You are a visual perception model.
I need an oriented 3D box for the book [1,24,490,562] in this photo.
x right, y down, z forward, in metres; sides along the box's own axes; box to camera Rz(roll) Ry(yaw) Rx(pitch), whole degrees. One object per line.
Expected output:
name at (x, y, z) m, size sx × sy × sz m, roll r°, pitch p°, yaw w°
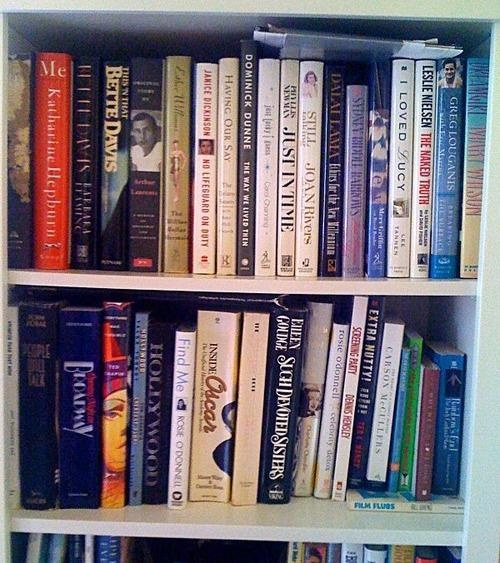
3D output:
book at (-0.014, 0.007, 1.059) m, size 0.817 × 0.279 × 0.787 m, roll 0°, pitch -90°, yaw -2°
